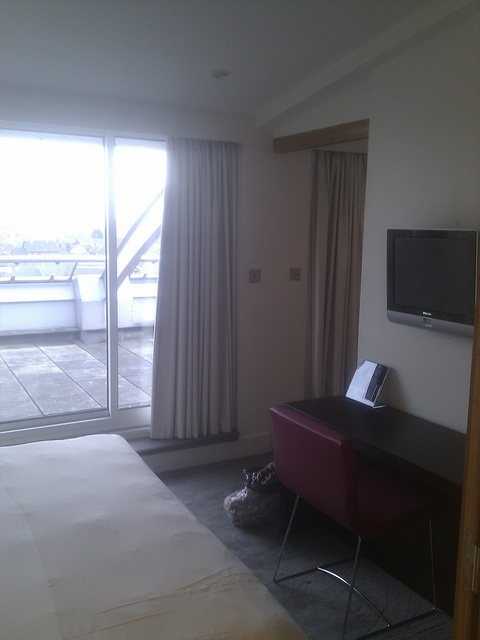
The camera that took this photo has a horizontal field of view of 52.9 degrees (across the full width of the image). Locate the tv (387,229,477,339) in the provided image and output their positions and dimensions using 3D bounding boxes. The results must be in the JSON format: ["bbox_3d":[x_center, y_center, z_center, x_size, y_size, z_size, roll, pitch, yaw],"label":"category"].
[{"bbox_3d":[0.802,-0.173,2.049,0.090,0.349,0.551,2,4,-20],"label":"tv"}]
